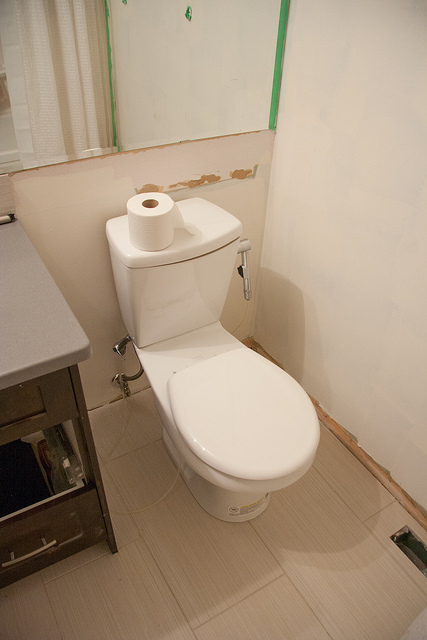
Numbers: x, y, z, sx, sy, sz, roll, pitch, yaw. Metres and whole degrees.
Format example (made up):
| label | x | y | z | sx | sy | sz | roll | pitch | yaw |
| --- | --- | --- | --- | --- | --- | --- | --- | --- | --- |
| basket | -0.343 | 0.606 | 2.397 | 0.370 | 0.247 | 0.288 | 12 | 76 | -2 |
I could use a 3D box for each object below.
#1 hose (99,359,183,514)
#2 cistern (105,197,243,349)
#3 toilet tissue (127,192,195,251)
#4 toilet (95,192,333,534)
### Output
| label | x | y | z | sx | sy | sz | roll | pitch | yaw |
| --- | --- | --- | --- | --- | --- | --- | --- | --- | --- |
| hose | -0.252 | 0.293 | 1.345 | 0.218 | 0.275 | 0.412 | -15 | 39 | -23 |
| cistern | -0.110 | -0.125 | 1.239 | 0.310 | 0.316 | 0.232 | -22 | 48 | -26 |
| toilet tissue | -0.138 | -0.217 | 1.040 | 0.103 | 0.095 | 0.121 | -3 | 35 | -8 |
| toilet | 0.005 | 0.139 | 1.163 | 0.341 | 0.699 | 0.643 | -18 | 42 | -27 |
